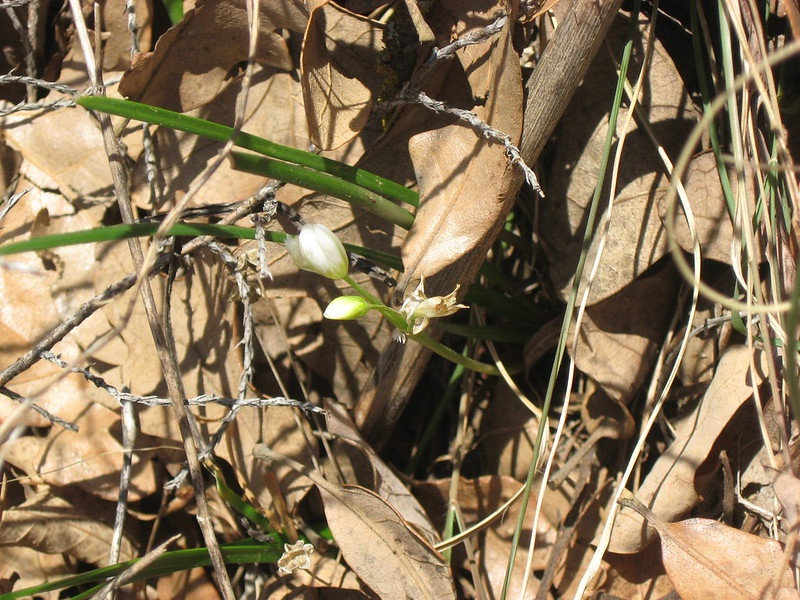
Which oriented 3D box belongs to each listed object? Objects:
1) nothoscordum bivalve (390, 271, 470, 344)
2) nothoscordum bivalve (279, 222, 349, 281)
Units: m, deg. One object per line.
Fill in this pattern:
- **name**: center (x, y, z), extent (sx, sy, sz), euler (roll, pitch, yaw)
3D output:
- **nothoscordum bivalve**: center (0.050, 0.007, 1.544), extent (0.041, 0.109, 0.118), euler (3, 63, -31)
- **nothoscordum bivalve**: center (-0.137, -0.080, 1.472), extent (0.079, 0.099, 0.041), euler (-46, 19, -9)
